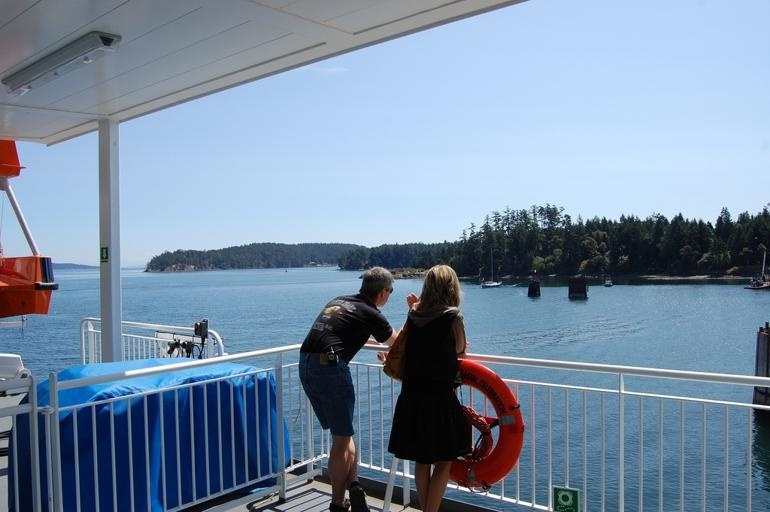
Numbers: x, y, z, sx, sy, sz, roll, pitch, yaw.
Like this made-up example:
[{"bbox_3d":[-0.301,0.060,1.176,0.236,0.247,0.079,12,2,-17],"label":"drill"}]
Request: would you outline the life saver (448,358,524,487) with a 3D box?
[{"bbox_3d":[1.129,1.684,6.497,0.758,1.326,0.748,-2,-1,23],"label":"life saver"}]
